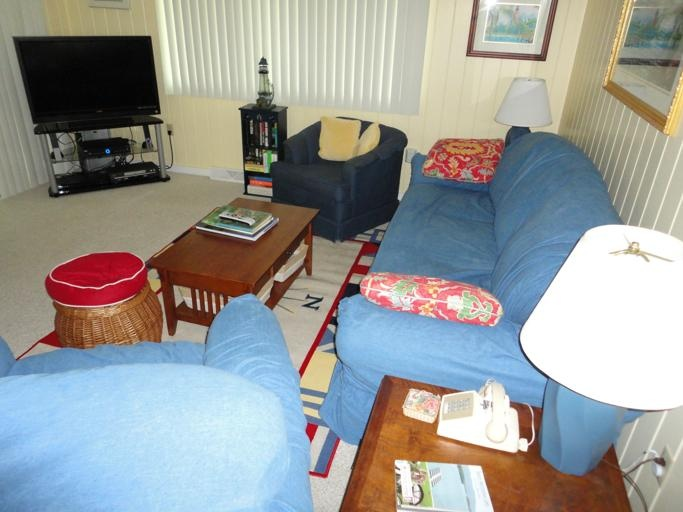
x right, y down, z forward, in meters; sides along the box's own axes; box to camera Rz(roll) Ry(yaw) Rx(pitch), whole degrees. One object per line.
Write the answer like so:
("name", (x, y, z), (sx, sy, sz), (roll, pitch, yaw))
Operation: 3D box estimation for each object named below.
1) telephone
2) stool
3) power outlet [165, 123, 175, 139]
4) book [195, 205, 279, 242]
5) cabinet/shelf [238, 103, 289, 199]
("telephone", (0.509, 0.565, 1.867), (0.307, 0.173, 0.302), (5, 25, 9))
("stool", (-1.338, 0.276, 2.839), (0.492, 0.459, 0.492), (26, 32, 14))
("power outlet", (-1.854, -1.342, 5.458), (0.069, 0.125, 0.033), (2, -7, -4))
("book", (-0.618, -0.226, 3.260), (0.329, 0.065, 0.295), (11, 26, 18))
("cabinet/shelf", (-0.732, -1.043, 4.983), (0.432, 0.812, 0.257), (9, 29, 16))
